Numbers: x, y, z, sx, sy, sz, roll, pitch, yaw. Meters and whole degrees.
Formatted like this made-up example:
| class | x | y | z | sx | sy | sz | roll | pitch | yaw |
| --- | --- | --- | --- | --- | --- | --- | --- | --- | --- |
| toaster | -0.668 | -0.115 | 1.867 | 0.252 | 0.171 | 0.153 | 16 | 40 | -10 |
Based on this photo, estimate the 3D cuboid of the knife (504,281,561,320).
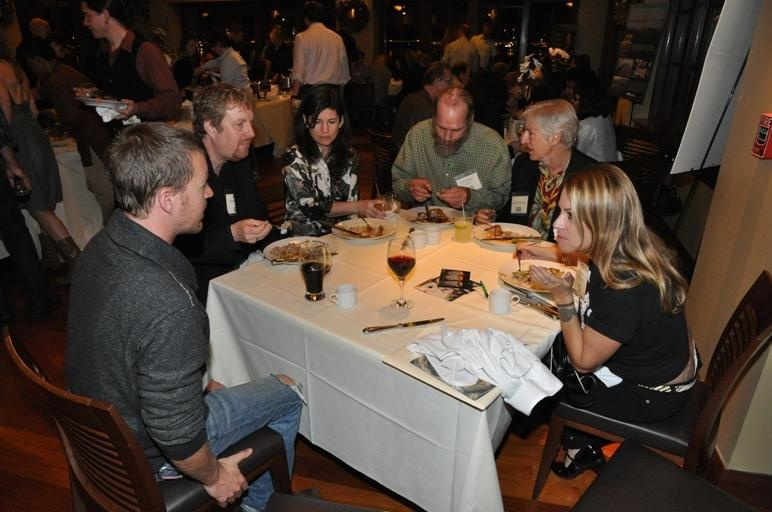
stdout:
| class | x | y | z | sx | sy | sz | roll | pitch | yaw |
| --- | --- | --- | --- | --- | --- | --- | --- | --- | --- |
| knife | 0.687 | 0.210 | 2.444 | 0.086 | 0.017 | 0.329 | -32 | 44 | -29 |

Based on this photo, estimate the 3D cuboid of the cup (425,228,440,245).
| class | x | y | z | sx | sy | sz | roll | pitch | yaw |
| --- | --- | --- | --- | --- | --- | --- | --- | --- | --- |
| cup | 0.263 | -0.111 | 2.873 | 0.081 | 0.065 | 0.081 | 0 | 29 | 0 |

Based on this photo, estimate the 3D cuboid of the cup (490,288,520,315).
| class | x | y | z | sx | sy | sz | roll | pitch | yaw |
| --- | --- | --- | --- | --- | --- | --- | --- | --- | --- |
| cup | 0.557 | 0.211 | 2.390 | 0.136 | 0.092 | 0.085 | 11 | 9 | -13 |

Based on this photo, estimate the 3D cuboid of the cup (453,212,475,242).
| class | x | y | z | sx | sy | sz | roll | pitch | yaw |
| --- | --- | --- | --- | --- | --- | --- | --- | --- | --- |
| cup | 0.430 | -0.174 | 2.953 | 0.145 | 0.156 | 0.147 | -1 | 23 | 0 |

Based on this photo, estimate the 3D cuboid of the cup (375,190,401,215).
| class | x | y | z | sx | sy | sz | roll | pitch | yaw |
| --- | --- | --- | --- | --- | --- | --- | --- | --- | --- |
| cup | -0.005 | -0.334 | 3.229 | 0.133 | 0.154 | 0.163 | 9 | 20 | 26 |

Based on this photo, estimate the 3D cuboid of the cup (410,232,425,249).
| class | x | y | z | sx | sy | sz | roll | pitch | yaw |
| --- | --- | --- | --- | --- | --- | --- | --- | --- | --- |
| cup | 0.176 | -0.094 | 2.891 | 0.071 | 0.072 | 0.095 | 1 | 24 | 7 |

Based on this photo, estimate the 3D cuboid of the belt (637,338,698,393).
| class | x | y | z | sx | sy | sz | roll | pitch | yaw |
| --- | --- | --- | --- | --- | --- | --- | --- | --- | --- |
| belt | 1.336 | 0.493 | 2.450 | 0.262 | 0.249 | 0.071 | -30 | 19 | -10 |

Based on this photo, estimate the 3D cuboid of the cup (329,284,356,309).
| class | x | y | z | sx | sy | sz | roll | pitch | yaw |
| --- | --- | --- | --- | --- | --- | --- | --- | --- | --- |
| cup | -0.202 | 0.202 | 2.412 | 0.121 | 0.087 | 0.088 | -7 | 37 | -10 |

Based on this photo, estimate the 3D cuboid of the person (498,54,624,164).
| class | x | y | z | sx | sy | sz | roll | pitch | yaw |
| --- | --- | --- | --- | --- | --- | --- | --- | --- | --- |
| person | 1.721 | -1.151 | 5.036 | 0.986 | 1.490 | 1.281 | 9 | 35 | 20 |

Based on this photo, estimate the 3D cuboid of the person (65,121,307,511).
| class | x | y | z | sx | sy | sz | roll | pitch | yaw |
| --- | --- | --- | --- | --- | --- | --- | --- | --- | --- |
| person | -0.832 | 0.355 | 2.126 | 0.724 | 1.677 | 0.739 | 17 | 31 | 32 |
